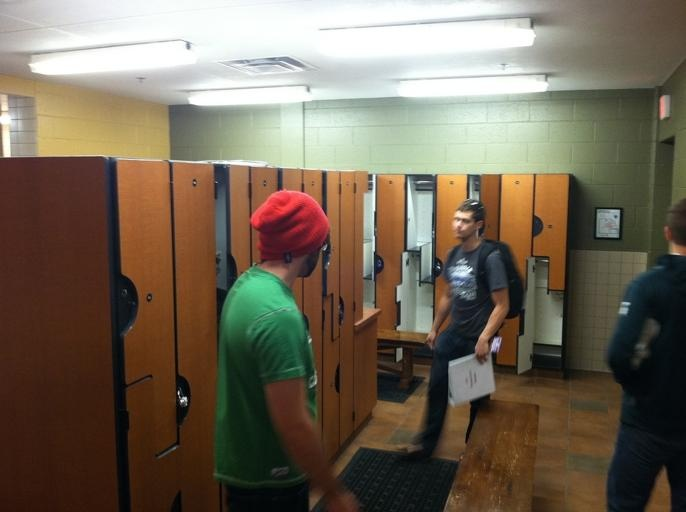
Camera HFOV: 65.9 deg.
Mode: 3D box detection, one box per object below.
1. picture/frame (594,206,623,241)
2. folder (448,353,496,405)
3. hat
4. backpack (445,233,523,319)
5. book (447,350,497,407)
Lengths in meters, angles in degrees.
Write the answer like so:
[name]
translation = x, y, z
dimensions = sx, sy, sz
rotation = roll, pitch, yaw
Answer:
[picture/frame]
translation = 3.397, -0.436, 6.774
dimensions = 0.417, 0.571, 0.044
rotation = 1, 3, 21
[folder]
translation = 0.997, 0.972, 4.189
dimensions = 0.388, 0.387, 0.138
rotation = -12, 9, 16
[hat]
translation = -0.238, -0.138, 2.281
dimensions = 0.362, 0.295, 0.295
rotation = 1, 5, -37
[backpack]
translation = 1.193, 0.194, 4.452
dimensions = 0.549, 0.618, 0.387
rotation = 4, -2, -10
[book]
translation = 1.004, 0.974, 4.205
dimensions = 0.468, 0.451, 0.159
rotation = -13, 9, 16
